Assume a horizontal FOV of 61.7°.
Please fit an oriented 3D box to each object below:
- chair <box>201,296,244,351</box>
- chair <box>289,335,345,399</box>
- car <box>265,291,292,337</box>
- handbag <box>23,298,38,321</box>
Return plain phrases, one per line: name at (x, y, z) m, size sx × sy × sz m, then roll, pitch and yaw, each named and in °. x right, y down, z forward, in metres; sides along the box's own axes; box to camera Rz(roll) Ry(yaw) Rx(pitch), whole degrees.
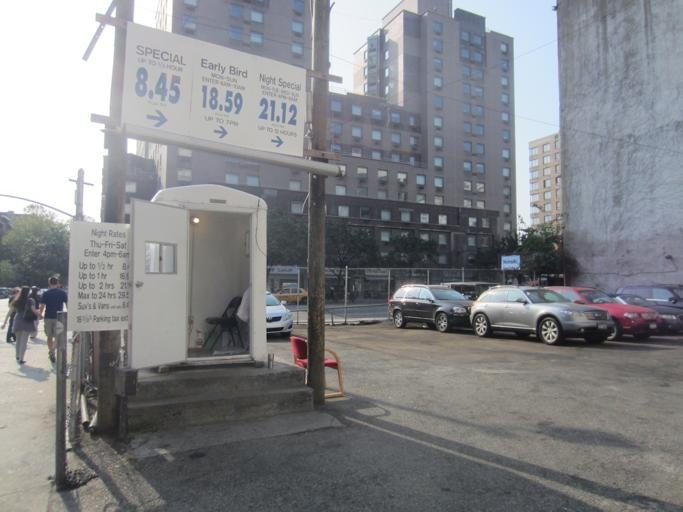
chair at (-2.275, 1.325, 10.967) m, size 0.909 × 1.402 × 0.718 m, roll 7°, pitch -10°, yaw -30°
chair at (-0.410, 1.899, 10.392) m, size 0.934 × 1.541 × 1.072 m, roll -2°, pitch -4°, yaw -14°
car at (-2.038, 2.016, 18.658) m, size 0.767 × 1.267 × 1.508 m, roll 0°, pitch 2°, yaw -6°
handbag at (-7.712, 1.325, 14.130) m, size 0.226 × 0.609 × 0.384 m, roll -21°, pitch -18°, yaw 22°
